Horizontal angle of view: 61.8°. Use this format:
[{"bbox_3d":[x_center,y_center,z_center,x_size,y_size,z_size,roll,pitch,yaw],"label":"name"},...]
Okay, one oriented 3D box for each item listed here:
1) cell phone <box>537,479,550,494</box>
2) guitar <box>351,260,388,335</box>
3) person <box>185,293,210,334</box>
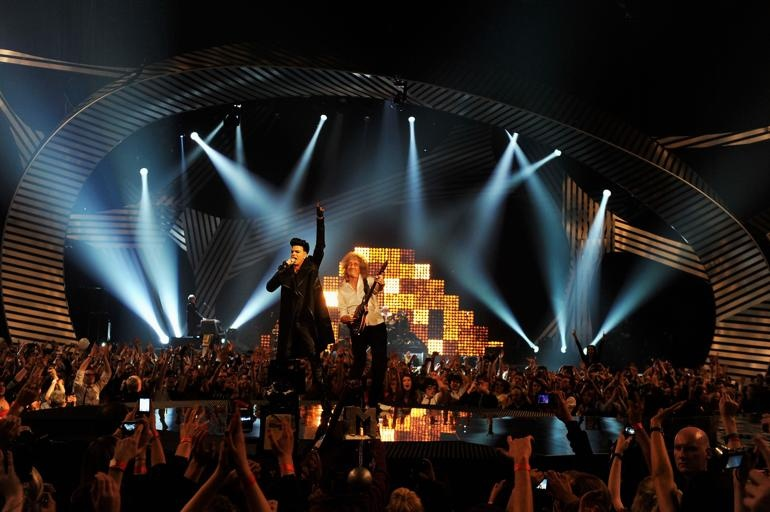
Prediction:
[{"bbox_3d":[2.129,3.116,8.786,0.157,0.156,0.252,-1,-20,10],"label":"cell phone"},{"bbox_3d":[-0.219,0.593,10.383,0.558,1.295,0.594,10,-20,-21],"label":"guitar"},{"bbox_3d":[-6.176,1.864,20.822,0.483,1.580,1.484,9,-20,-18],"label":"person"}]
